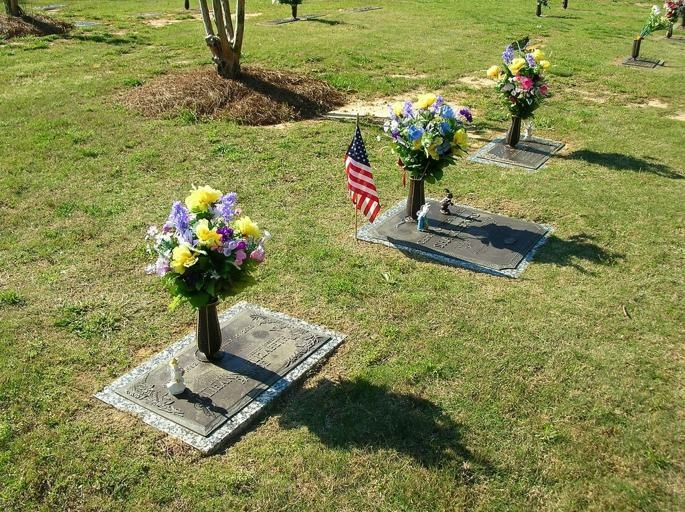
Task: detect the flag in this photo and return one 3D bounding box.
[{"bbox_3d":[0.329,-1.243,9.181,0.446,1.633,0.698,-7,32,-15],"label":"flag"}]

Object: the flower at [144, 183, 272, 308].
[{"bbox_3d":[-1.581,-0.047,6.978,1.273,1.347,0.760,-5,31,-13],"label":"flower"}]
